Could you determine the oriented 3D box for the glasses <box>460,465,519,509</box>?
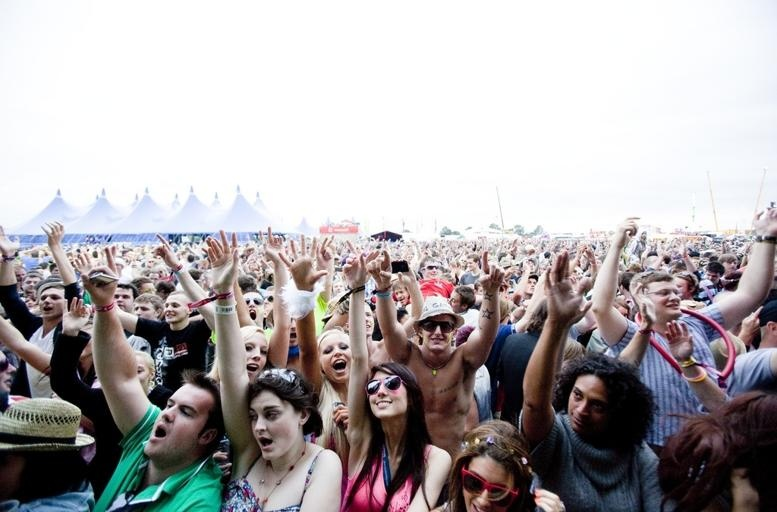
[{"bbox_3d":[0.721,1.644,3.221,0.391,0.222,0.095,1,4,18],"label":"glasses"}]

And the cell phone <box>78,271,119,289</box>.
[{"bbox_3d":[-2.211,0.166,3.482,0.228,0.118,0.121,-2,4,-31],"label":"cell phone"}]

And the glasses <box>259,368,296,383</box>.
[{"bbox_3d":[-0.863,0.929,3.558,0.284,0.085,0.144,0,4,-3],"label":"glasses"}]
